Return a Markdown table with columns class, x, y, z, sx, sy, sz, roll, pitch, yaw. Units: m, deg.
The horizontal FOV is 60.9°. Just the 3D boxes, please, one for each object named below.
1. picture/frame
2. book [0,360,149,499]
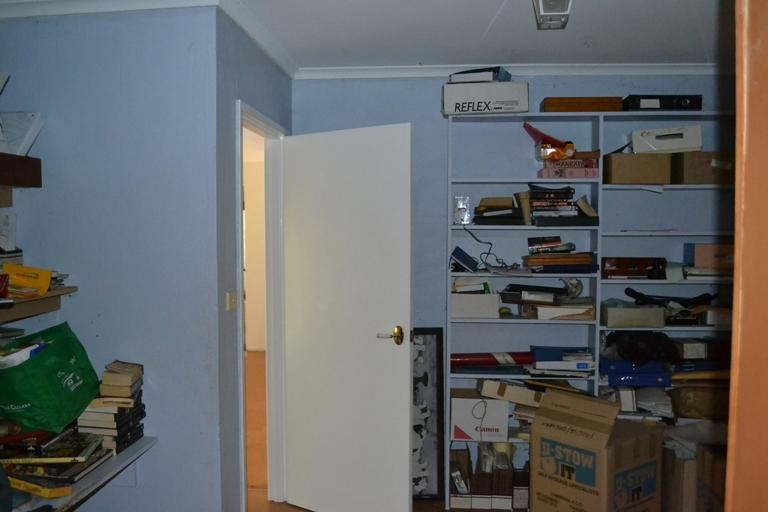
| class | x | y | z | sx | sy | sz | roll | pitch | yaw |
| --- | --- | --- | --- | --- | --- | --- | --- | --- | --- |
| picture/frame | 0.327 | 1.145 | 4.816 | 0.213 | 1.224 | 0.150 | 0 | -1 | 6 |
| book | -1.721 | 1.058 | 3.776 | 0.695 | 0.509 | 0.686 | 5 | 11 | 10 |
